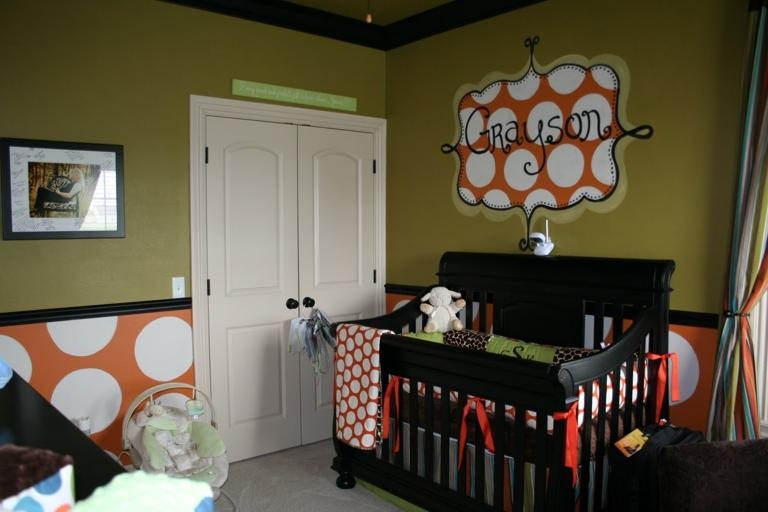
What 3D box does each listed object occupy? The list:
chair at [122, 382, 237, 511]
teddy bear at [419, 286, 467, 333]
[{"bbox_3d":[-1.232,1.138,3.344,0.606,0.793,0.700,-2,6,-27],"label":"chair"},{"bbox_3d":[0.395,0.350,3.690,0.282,0.317,0.225,-3,-4,5],"label":"teddy bear"}]
